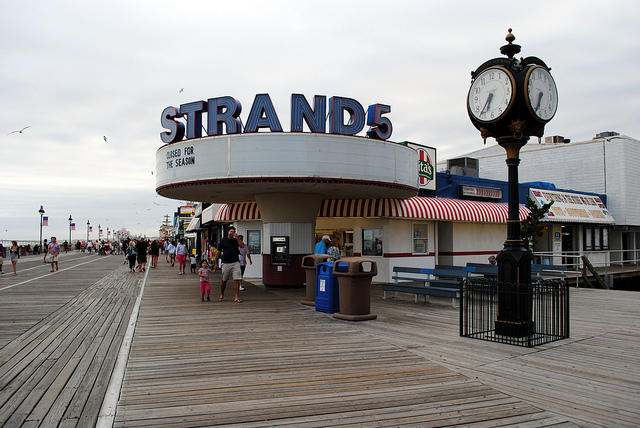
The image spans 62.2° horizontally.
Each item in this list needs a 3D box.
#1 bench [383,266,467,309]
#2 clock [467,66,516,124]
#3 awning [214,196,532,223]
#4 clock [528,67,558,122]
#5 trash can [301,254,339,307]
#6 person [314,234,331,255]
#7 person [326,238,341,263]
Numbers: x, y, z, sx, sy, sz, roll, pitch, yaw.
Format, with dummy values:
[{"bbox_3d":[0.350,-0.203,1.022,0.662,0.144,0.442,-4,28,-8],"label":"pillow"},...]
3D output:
[{"bbox_3d":[3.639,2.485,18.655,2.893,1.214,1.004,-1,-4,40],"label":"bench"},{"bbox_3d":[4.363,-3.010,13.500,0.236,1.453,1.269,-5,7,-42],"label":"clock"},{"bbox_3d":[2.913,-0.159,26.445,14.395,1.511,5.222,0,5,2],"label":"awning"},{"bbox_3d":[5.560,-2.982,13.261,1.393,1.349,0.124,-1,-2,-38],"label":"clock"},{"bbox_3d":[-0.256,2.087,16.800,1.489,1.792,1.458,1,-1,7],"label":"trash can"},{"bbox_3d":[0.138,1.253,21.386,0.431,1.221,0.618,-1,8,-24],"label":"person"},{"bbox_3d":[0.618,1.502,22.248,0.623,1.124,1.114,2,-11,9],"label":"person"}]
